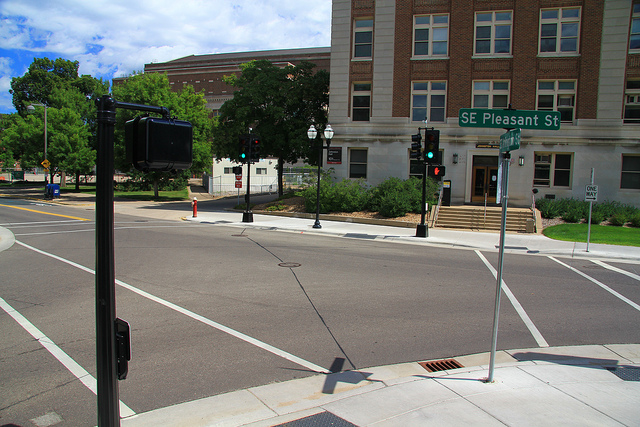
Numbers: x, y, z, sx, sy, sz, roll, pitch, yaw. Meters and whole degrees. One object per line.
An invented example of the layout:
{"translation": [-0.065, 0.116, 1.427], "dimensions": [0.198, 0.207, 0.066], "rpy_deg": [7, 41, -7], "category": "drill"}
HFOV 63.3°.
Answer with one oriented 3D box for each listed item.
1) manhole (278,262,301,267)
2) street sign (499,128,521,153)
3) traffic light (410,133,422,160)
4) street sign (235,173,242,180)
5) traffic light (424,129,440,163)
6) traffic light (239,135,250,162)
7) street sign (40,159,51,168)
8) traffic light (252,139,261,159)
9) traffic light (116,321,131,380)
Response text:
{"translation": [-1.070, 1.755, 17.687], "dimensions": [0.768, 0.075, 0.556], "rpy_deg": [0, 14, -5], "category": "manhole"}
{"translation": [3.961, -1.505, 10.793], "dimensions": [0.265, 0.509, 0.634], "rpy_deg": [-4, 15, -18], "category": "street sign"}
{"translation": [4.654, -3.224, 25.047], "dimensions": [0.473, 1.237, 0.869], "rpy_deg": [3, 15, 9], "category": "traffic light"}
{"translation": [-5.196, -2.340, 32.751], "dimensions": [0.688, 0.344, 0.915], "rpy_deg": [0, -1, -4], "category": "street sign"}
{"translation": [5.144, -3.122, 24.056], "dimensions": [0.653, 1.537, 0.554], "rpy_deg": [0, 14, -3], "category": "traffic light"}
{"translation": [-4.176, -3.611, 28.861], "dimensions": [0.605, 1.539, 1.127], "rpy_deg": [-9, 17, -33], "category": "traffic light"}
{"translation": [-23.700, -4.282, 44.614], "dimensions": [0.410, 0.816, 1.422], "rpy_deg": [-8, 17, -30], "category": "street sign"}
{"translation": [-3.608, -3.575, 28.803], "dimensions": [0.441, 1.103, 0.260], "rpy_deg": [-6, 16, -25], "category": "traffic light"}
{"translation": [-3.523, 2.438, 9.199], "dimensions": [0.272, 1.028, 0.363], "rpy_deg": [-5, 16, -22], "category": "traffic light"}
